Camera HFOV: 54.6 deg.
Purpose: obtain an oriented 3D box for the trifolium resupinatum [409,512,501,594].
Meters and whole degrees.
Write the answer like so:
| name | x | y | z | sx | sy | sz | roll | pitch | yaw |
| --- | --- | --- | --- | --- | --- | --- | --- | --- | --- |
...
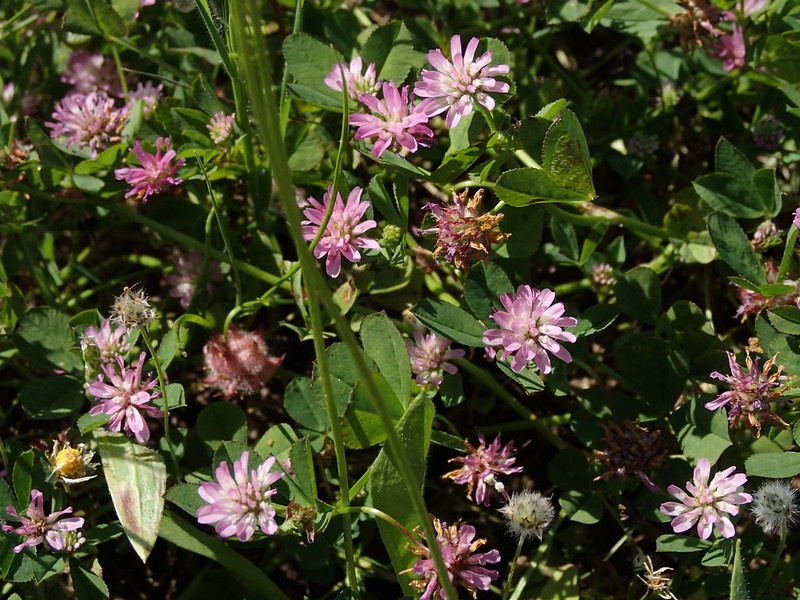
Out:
| name | x | y | z | sx | sy | sz | roll | pitch | yaw |
| --- | --- | --- | --- | --- | --- | --- | --- | --- | --- |
| trifolium resupinatum | 0.130 | 0.621 | 1.781 | 0.165 | 0.108 | 0.170 | 17 | 47 | 19 |

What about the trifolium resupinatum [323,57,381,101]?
| name | x | y | z | sx | sy | sz | roll | pitch | yaw |
| --- | --- | --- | --- | --- | --- | --- | --- | --- | --- |
| trifolium resupinatum | -0.116 | -0.558 | 1.957 | 0.115 | 0.074 | 0.132 | 13 | 52 | 7 |

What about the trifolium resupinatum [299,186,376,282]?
| name | x | y | z | sx | sy | sz | roll | pitch | yaw |
| --- | --- | --- | --- | --- | --- | --- | --- | --- | --- |
| trifolium resupinatum | -0.141 | -0.182 | 1.895 | 0.196 | 0.184 | 0.247 | 8 | 48 | 0 |

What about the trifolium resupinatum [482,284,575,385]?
| name | x | y | z | sx | sy | sz | roll | pitch | yaw |
| --- | --- | --- | --- | --- | --- | --- | --- | --- | --- |
| trifolium resupinatum | 0.288 | 0.033 | 1.764 | 0.163 | 0.067 | 0.184 | -23 | 26 | 26 |

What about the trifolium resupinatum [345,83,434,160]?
| name | x | y | z | sx | sy | sz | roll | pitch | yaw |
| --- | --- | --- | --- | --- | --- | --- | --- | --- | --- |
| trifolium resupinatum | -0.020 | -0.434 | 1.854 | 0.197 | 0.130 | 0.138 | 2 | 47 | -6 |

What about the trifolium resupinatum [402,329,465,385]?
| name | x | y | z | sx | sy | sz | roll | pitch | yaw |
| --- | --- | --- | --- | --- | --- | --- | --- | --- | --- |
| trifolium resupinatum | 0.074 | 0.125 | 1.903 | 0.115 | 0.051 | 0.127 | -12 | 33 | -30 |

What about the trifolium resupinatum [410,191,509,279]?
| name | x | y | z | sx | sy | sz | roll | pitch | yaw |
| --- | --- | --- | --- | --- | --- | --- | --- | --- | --- |
| trifolium resupinatum | 0.124 | -0.136 | 1.873 | 0.210 | 0.146 | 0.194 | 15 | 8 | 26 |

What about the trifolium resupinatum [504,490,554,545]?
| name | x | y | z | sx | sy | sz | roll | pitch | yaw |
| --- | --- | --- | --- | --- | --- | --- | --- | --- | --- |
| trifolium resupinatum | 0.324 | 0.524 | 1.882 | 0.122 | 0.122 | 0.121 | -17 | -10 | 36 |
